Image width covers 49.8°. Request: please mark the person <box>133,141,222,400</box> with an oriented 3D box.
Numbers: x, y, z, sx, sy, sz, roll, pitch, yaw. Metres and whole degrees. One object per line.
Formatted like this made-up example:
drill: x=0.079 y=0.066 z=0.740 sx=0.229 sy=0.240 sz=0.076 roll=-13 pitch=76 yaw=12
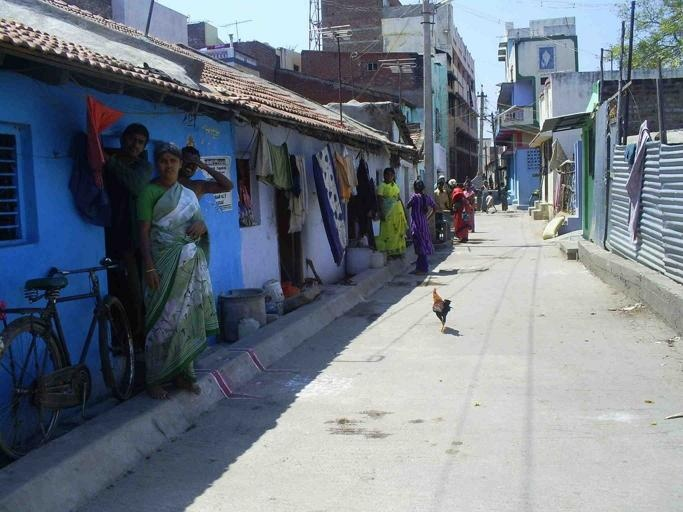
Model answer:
person: x=-1.610 y=0.152 z=7.100 sx=0.743 sy=2.468 sz=0.443 roll=-6 pitch=10 yaw=-24
